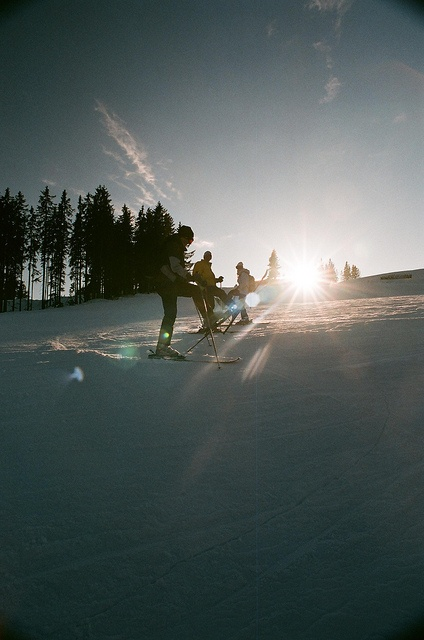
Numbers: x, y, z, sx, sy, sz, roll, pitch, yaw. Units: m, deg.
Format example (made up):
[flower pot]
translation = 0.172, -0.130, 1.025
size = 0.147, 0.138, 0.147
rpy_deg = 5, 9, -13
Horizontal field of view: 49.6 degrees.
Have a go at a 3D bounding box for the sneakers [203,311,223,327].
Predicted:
[sneakers]
translation = 0.022, 0.001, 7.693
size = 0.249, 0.224, 0.198
rpy_deg = -23, 0, 6
